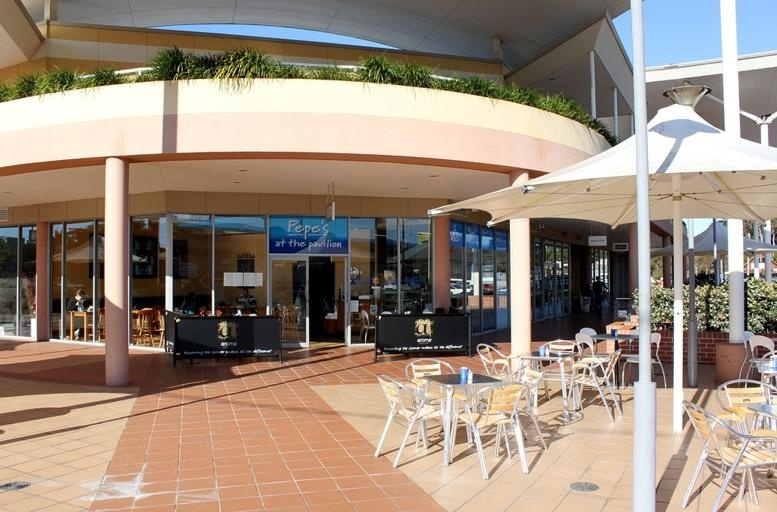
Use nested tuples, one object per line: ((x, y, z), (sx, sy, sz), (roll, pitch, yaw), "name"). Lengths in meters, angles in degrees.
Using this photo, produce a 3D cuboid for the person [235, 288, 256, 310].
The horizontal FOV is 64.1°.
((-4.393, 1.389, 19.476), (0.698, 0.935, 0.571), (-1, -2, -2), "person")
